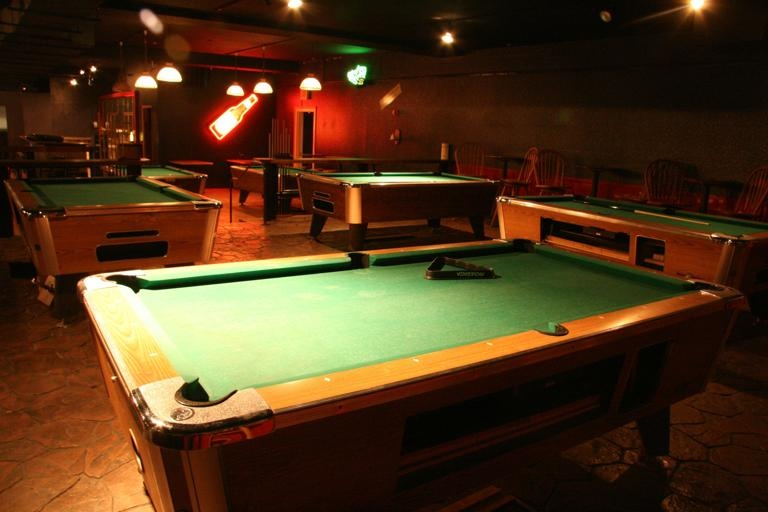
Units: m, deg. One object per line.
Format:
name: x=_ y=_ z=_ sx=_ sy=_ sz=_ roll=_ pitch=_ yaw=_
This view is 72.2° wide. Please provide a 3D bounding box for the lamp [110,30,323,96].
lamp: x=-3.276 y=-3.786 z=10.266 sx=5.013 sy=0.891 sz=2.307 roll=-3 pitch=13 yaw=-28
